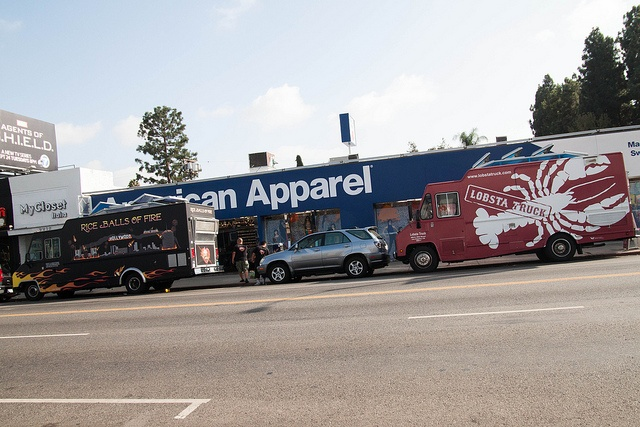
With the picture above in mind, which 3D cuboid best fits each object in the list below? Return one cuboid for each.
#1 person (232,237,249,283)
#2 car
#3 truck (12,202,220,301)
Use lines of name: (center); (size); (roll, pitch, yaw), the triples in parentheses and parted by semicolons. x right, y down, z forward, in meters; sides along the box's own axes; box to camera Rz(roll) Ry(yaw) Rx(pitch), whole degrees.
person: (-3.633, 2.127, 23.618); (0.615, 2.119, 1.489); (-6, -5, -9)
car: (0.313, 1.714, 21.526); (4.741, 1.930, 2.288); (-1, -4, 16)
truck: (-9.917, 1.401, 24.319); (9.403, 4.289, 3.221); (-7, 12, 10)
